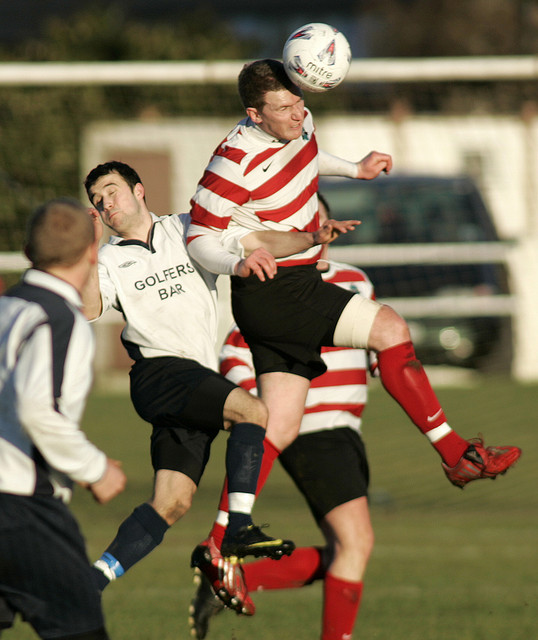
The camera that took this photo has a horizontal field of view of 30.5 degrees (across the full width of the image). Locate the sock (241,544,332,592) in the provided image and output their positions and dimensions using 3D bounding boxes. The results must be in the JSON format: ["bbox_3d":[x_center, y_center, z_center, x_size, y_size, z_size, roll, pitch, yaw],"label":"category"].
[{"bbox_3d":[0.079,1.092,4.326,0.404,0.265,0.158,-1,31,9],"label":"sock"}]

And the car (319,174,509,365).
[{"bbox_3d":[1.157,-0.634,7.975,1.407,0.955,1.775,-3,65,1],"label":"car"}]
